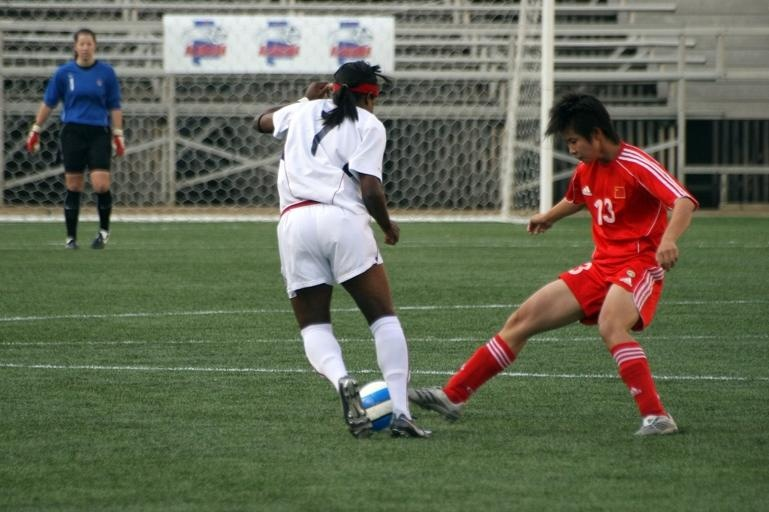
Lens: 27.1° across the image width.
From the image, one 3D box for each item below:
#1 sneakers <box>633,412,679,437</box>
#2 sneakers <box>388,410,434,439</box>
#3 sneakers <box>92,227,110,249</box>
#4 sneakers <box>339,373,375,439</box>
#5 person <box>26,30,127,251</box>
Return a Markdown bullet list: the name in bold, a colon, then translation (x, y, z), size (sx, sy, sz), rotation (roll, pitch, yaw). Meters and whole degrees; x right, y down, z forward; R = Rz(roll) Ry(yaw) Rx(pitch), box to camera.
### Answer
- **sneakers**: translation (2.590, 1.598, 14.986), size (0.404, 0.192, 0.166), rotation (1, 8, 8)
- **sneakers**: translation (0.326, 1.608, 15.057), size (0.494, 0.191, 0.166), rotation (8, 10, -22)
- **sneakers**: translation (-3.459, -0.200, 19.524), size (0.133, 0.131, 0.346), rotation (17, 15, -5)
- **sneakers**: translation (-0.289, 1.418, 15.017), size (0.235, 0.615, 0.291), rotation (-21, 0, -13)
- **person**: translation (-3.666, -1.370, 19.281), size (1.015, 2.627, 0.608), rotation (-1, 8, -2)
